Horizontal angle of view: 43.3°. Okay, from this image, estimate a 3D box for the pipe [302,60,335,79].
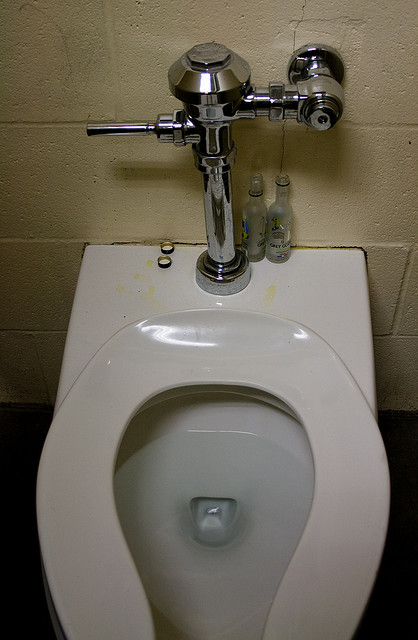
[{"bbox_3d":[0.119,-0.277,0.586,0.030,0.017,0.033,0,33,6],"label":"pipe"}]

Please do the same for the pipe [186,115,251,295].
[{"bbox_3d":[0.012,-0.133,0.652,0.080,0.249,0.126,-2,32,3],"label":"pipe"}]

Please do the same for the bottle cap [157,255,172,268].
[{"bbox_3d":[-0.065,-0.085,0.773,0.017,0.010,0.017,10,60,3],"label":"bottle cap"}]

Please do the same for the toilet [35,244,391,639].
[{"bbox_3d":[0.009,0.113,0.790,0.412,0.392,0.598,1,59,4],"label":"toilet"}]

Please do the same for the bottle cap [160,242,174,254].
[{"bbox_3d":[-0.062,-0.108,0.795,0.018,0.013,0.019,-4,56,-4],"label":"bottle cap"}]

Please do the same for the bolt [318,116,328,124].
[{"bbox_3d":[0.118,-0.206,0.545,0.010,0.009,0.006,2,32,9],"label":"bolt"}]
